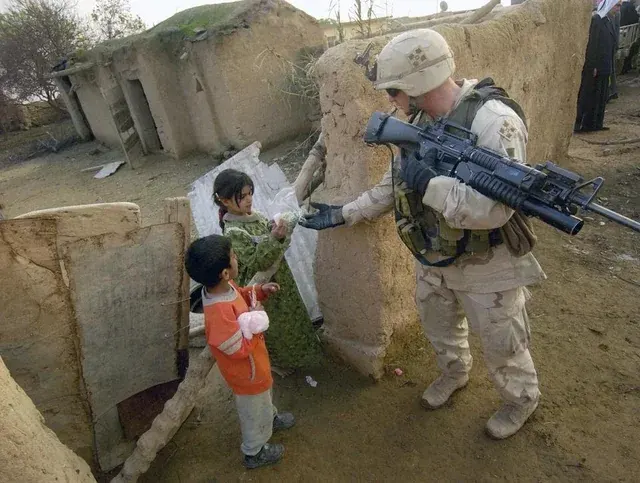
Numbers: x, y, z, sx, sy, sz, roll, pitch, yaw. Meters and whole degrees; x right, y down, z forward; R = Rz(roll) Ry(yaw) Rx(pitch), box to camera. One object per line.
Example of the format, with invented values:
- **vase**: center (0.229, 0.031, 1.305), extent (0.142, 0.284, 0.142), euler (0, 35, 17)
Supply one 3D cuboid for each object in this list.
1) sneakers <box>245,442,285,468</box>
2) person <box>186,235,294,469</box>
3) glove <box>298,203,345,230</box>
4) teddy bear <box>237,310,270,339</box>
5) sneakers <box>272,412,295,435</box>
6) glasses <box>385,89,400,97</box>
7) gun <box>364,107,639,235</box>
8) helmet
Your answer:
- **sneakers**: center (-0.366, 1.419, 3.227), extent (0.259, 0.168, 0.116), euler (-18, 44, -15)
- **person**: center (-0.521, 0.756, 3.187), extent (0.547, 1.629, 0.746), euler (-19, 36, -16)
- **glove**: center (0.015, -0.155, 3.333), extent (0.261, 0.111, 0.186), euler (-9, 48, 20)
- **teddy bear**: center (-0.397, 0.509, 2.872), extent (0.175, 0.191, 0.161), euler (-14, 23, -10)
- **sneakers**: center (-0.266, 1.291, 3.394), extent (0.174, 0.108, 0.088), euler (-25, 36, -10)
- **glasses**: center (0.454, -0.909, 2.931), extent (0.044, 0.050, 0.048), euler (-17, -6, -5)
- **gun**: center (0.960, -0.414, 2.714), extent (1.456, 0.664, 0.245), euler (7, 28, 34)
- **helmet**: center (0.572, -1.058, 2.939), extent (0.441, 0.285, 0.352), euler (-21, 31, 17)
